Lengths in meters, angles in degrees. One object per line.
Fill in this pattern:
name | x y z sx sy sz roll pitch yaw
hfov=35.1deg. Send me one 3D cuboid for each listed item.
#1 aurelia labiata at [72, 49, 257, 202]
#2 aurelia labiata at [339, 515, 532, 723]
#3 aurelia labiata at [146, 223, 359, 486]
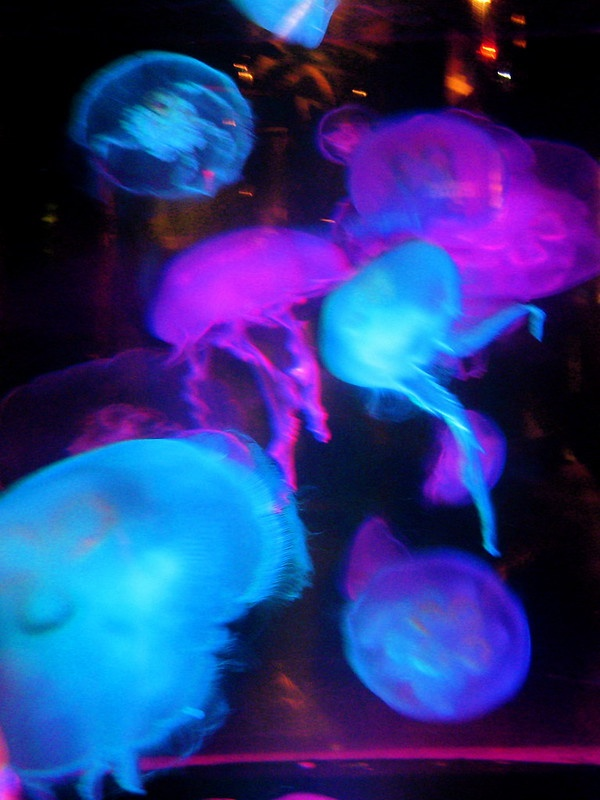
aurelia labiata | -0.184 -0.372 1.273 0.249 0.064 0.192 16 94 -9
aurelia labiata | 0.180 0.304 1.350 0.256 0.282 0.249 -9 109 -12
aurelia labiata | -0.068 -0.053 1.380 0.424 0.300 0.402 -3 81 4
